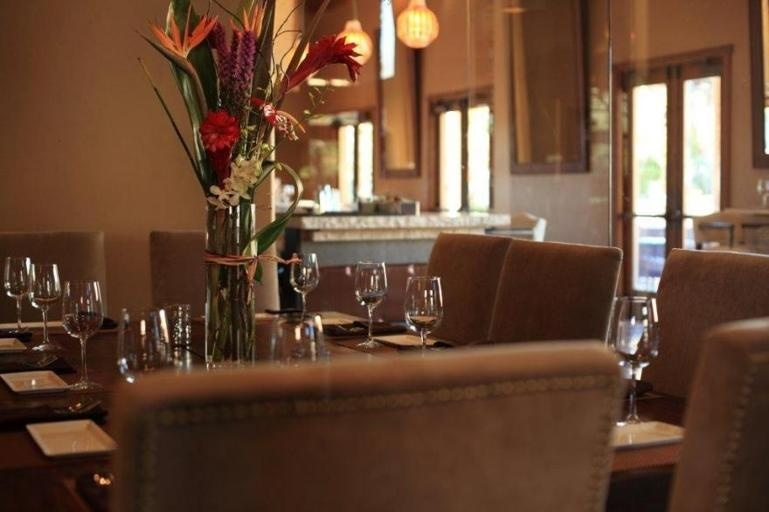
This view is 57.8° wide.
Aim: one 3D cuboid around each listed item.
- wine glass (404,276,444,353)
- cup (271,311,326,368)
[{"bbox_3d":[0.107,0.171,1.867,0.092,0.262,0.092,-2,12,-8],"label":"wine glass"},{"bbox_3d":[-0.132,0.124,1.062,0.069,0.059,0.075,0,-3,0],"label":"cup"}]
